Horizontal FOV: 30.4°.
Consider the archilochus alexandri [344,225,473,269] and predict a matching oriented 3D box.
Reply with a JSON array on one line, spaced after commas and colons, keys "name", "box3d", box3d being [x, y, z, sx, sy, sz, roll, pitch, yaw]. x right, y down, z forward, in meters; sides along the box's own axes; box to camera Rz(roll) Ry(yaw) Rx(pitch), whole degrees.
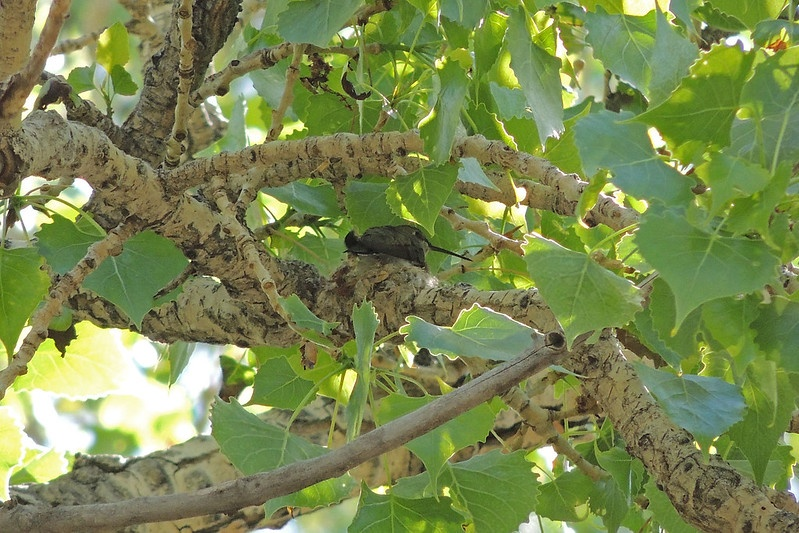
[{"name": "archilochus alexandri", "box3d": [0.017, -0.071, 4.473, 0.362, 0.106, 0.241, 22, -10, -27]}]
